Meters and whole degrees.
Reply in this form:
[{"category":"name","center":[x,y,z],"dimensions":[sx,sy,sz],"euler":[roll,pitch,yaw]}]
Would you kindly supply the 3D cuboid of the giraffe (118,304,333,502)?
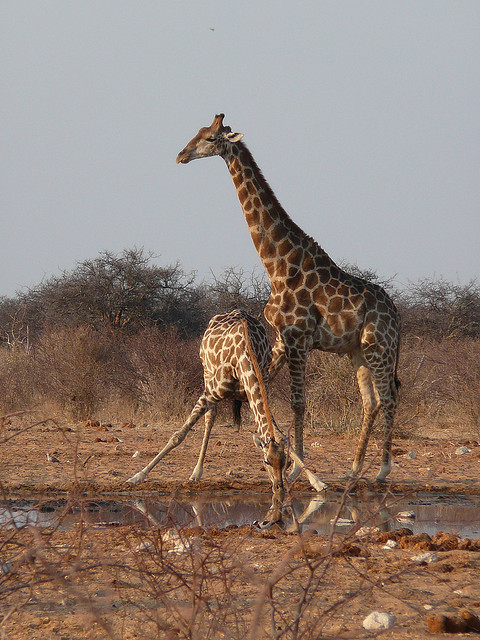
[{"category":"giraffe","center":[-0.161,0.832,8.794],"dimensions":[1.423,1.832,3.056],"euler":[4,0,-5]}]
